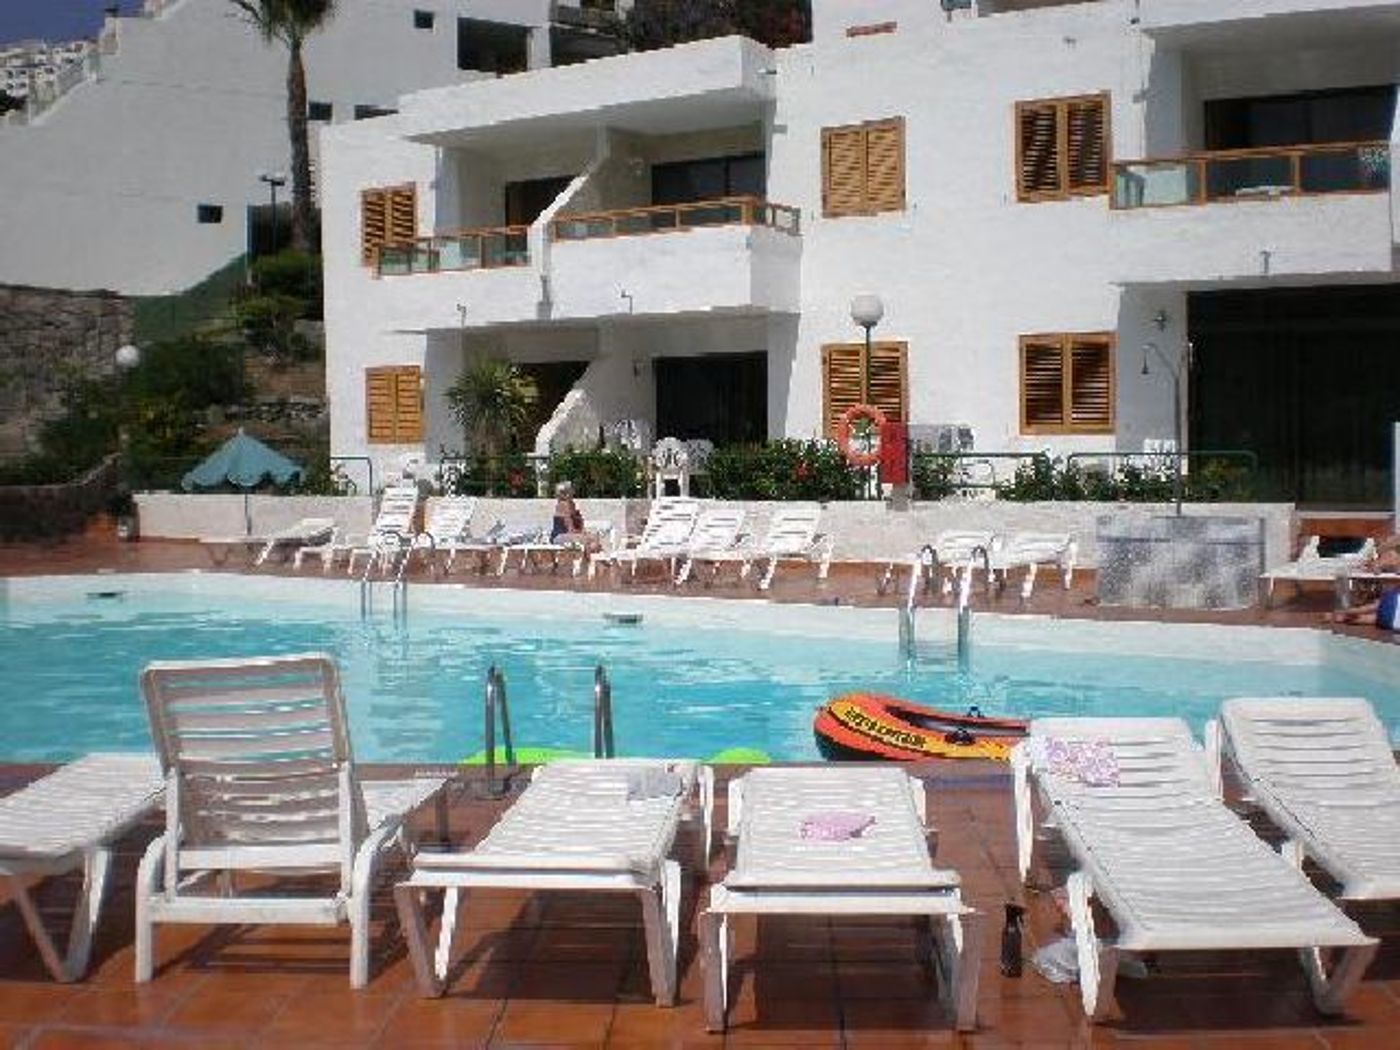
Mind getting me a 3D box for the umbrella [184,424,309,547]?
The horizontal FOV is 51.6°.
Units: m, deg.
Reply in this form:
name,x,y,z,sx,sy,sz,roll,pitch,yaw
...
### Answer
name,x,y,z,sx,sy,sz,roll,pitch,yaw
umbrella,-7.027,-0.756,22.292,1.562,1.374,1.582,-6,13,-42
